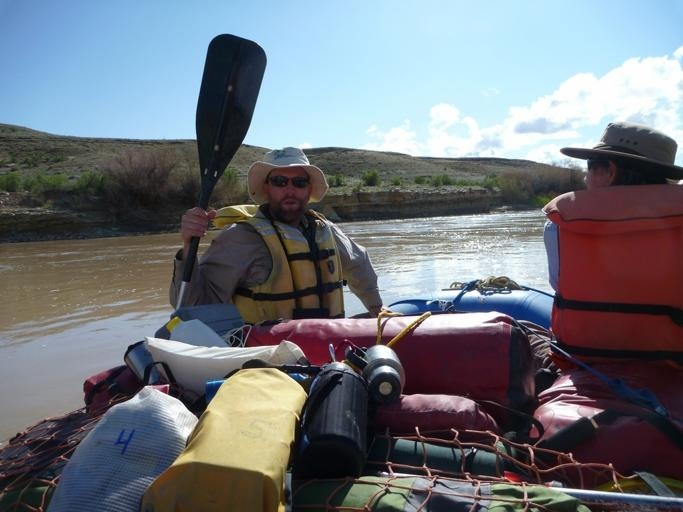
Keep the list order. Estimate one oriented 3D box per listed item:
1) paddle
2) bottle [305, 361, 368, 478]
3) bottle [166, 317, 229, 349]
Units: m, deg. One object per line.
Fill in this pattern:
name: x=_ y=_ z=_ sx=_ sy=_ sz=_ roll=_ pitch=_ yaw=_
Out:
paddle: x=-0.797 y=-0.943 z=3.292 sx=0.521 sy=1.185 sz=0.404 roll=-3 pitch=8 yaw=-15
bottle: x=-0.024 y=0.590 z=1.766 sx=0.286 sy=0.390 sz=0.467 roll=1 pitch=27 yaw=1
bottle: x=-0.792 y=0.419 z=2.463 sx=0.200 sy=0.190 sz=0.349 roll=15 pitch=-3 yaw=-27
